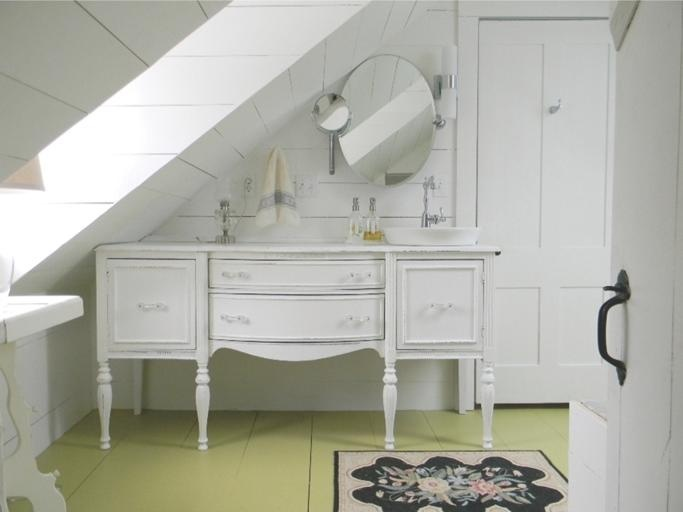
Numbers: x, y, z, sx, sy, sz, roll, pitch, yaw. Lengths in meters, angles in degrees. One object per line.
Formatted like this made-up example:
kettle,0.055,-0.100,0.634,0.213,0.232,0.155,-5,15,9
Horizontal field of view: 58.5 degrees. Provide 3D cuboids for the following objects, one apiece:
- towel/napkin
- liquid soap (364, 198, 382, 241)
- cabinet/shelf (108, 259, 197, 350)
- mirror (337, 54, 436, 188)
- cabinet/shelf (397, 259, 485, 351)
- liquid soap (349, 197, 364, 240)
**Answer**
towel/napkin,-0.325,-0.345,3.046,0.215,0.389,0.083,-2,9,-9
liquid soap,0.157,-0.189,3.098,0.092,0.204,0.184,0,9,2
cabinet/shelf,-0.851,0.225,2.840,0.471,0.499,0.275,2,5,-1
mirror,0.230,-0.716,3.102,0.592,0.879,0.059,-1,4,-2
cabinet/shelf,0.436,0.215,2.824,0.432,0.474,0.234,-1,7,-2
liquid soap,0.073,-0.194,3.110,0.069,0.200,0.160,0,9,0
